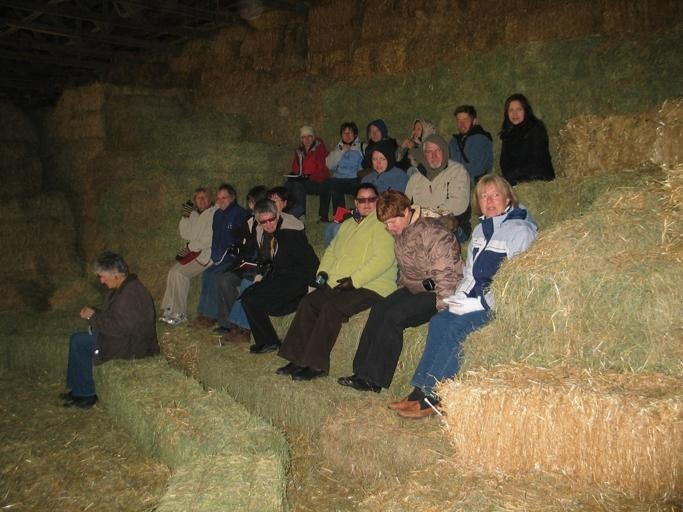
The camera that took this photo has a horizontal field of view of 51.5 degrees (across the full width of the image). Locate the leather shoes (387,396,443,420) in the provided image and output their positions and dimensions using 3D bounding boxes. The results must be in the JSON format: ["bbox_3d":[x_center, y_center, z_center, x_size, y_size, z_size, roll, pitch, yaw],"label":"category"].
[{"bbox_3d":[0.869,1.772,8.252,0.437,0.194,0.257,9,-6,-8],"label":"leather shoes"}]

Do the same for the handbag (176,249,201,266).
[{"bbox_3d":[-2.567,0.030,11.863,0.330,0.129,0.234,-37,28,-12],"label":"handbag"}]

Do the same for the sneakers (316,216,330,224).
[{"bbox_3d":[-0.310,-0.629,12.377,0.236,0.197,0.085,2,5,37],"label":"sneakers"}]

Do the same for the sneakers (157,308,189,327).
[{"bbox_3d":[-2.859,1.048,11.852,0.188,0.264,0.553,2,-10,-34],"label":"sneakers"}]

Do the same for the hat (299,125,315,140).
[{"bbox_3d":[-0.642,-2.249,12.732,0.214,0.268,0.316,0,-4,1],"label":"hat"}]

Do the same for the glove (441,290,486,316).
[{"bbox_3d":[1.420,0.552,8.341,0.259,0.162,0.322,-12,10,-30],"label":"glove"}]

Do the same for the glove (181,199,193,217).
[{"bbox_3d":[-2.708,-0.838,12.447,0.206,0.304,0.113,17,20,-14],"label":"glove"}]

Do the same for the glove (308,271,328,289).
[{"bbox_3d":[-0.315,0.376,9.638,0.270,0.185,0.307,1,48,-2],"label":"glove"}]

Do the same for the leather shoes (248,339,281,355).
[{"bbox_3d":[-1.078,1.298,10.072,0.468,0.229,0.179,5,-3,-22],"label":"leather shoes"}]

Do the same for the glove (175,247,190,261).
[{"bbox_3d":[-2.662,-0.032,11.912,0.134,0.307,0.108,19,-18,31],"label":"glove"}]

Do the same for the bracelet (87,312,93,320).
[{"bbox_3d":[-3.408,0.811,9.607,0.019,0.082,0.073,37,-8,-29],"label":"bracelet"}]

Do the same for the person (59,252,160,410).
[{"bbox_3d":[-3.232,1.028,9.829,1.256,2.147,0.571,1,6,10],"label":"person"}]

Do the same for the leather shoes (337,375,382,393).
[{"bbox_3d":[0.212,1.601,8.777,0.543,0.248,0.216,18,-7,7],"label":"leather shoes"}]
